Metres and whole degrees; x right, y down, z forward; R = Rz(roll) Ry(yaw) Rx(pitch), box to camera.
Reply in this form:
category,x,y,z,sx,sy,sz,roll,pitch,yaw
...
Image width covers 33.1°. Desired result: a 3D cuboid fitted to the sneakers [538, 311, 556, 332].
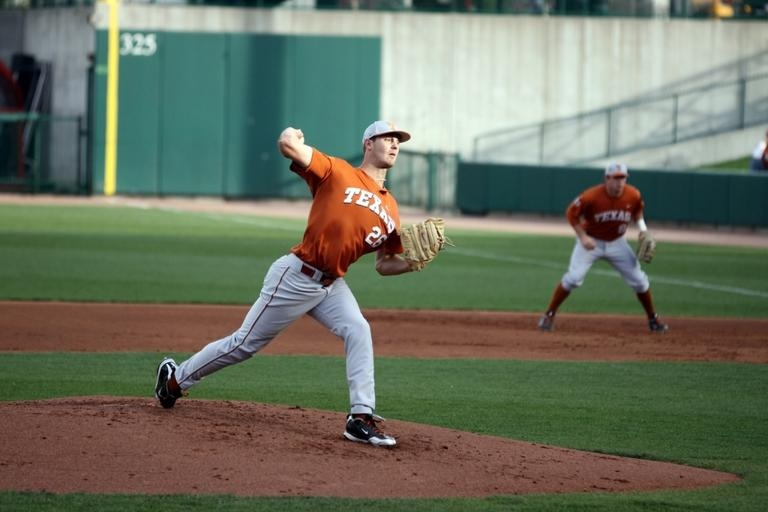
category,x,y,z,sx,sy,sz,roll,pitch,yaw
sneakers,2.538,1.009,19.966,0.225,0.341,0.106,26,-3,20

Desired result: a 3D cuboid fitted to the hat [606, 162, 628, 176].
category,x,y,z,sx,sy,sz,roll,pitch,yaw
hat,3.512,-1.292,19.468,0.303,0.199,0.592,3,3,11

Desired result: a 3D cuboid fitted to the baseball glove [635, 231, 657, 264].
category,x,y,z,sx,sy,sz,roll,pitch,yaw
baseball glove,4.021,-0.133,19.568,0.124,0.458,0.288,3,13,-29

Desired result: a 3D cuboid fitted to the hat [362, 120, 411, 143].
category,x,y,z,sx,sy,sz,roll,pitch,yaw
hat,-0.008,-1.567,16.249,0.469,0.224,0.337,-3,-2,24

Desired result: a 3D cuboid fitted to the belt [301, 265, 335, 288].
category,x,y,z,sx,sy,sz,roll,pitch,yaw
belt,-0.811,0.216,16.084,0.317,0.113,0.298,24,-6,46
